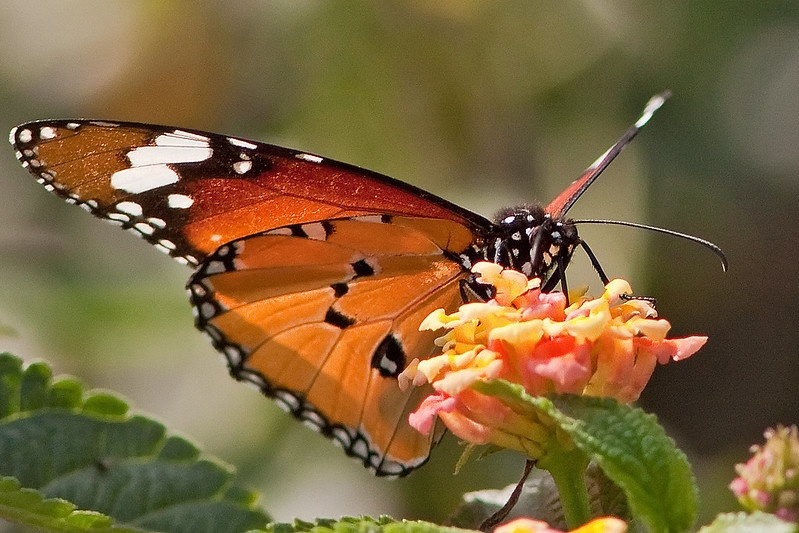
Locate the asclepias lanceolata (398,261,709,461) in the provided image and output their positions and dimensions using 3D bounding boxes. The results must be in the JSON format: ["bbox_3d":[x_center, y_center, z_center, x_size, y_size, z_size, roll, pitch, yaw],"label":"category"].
[{"bbox_3d":[0.387,0.254,2.300,0.730,0.421,0.380,13,-45,1],"label":"asclepias lanceolata"}]
